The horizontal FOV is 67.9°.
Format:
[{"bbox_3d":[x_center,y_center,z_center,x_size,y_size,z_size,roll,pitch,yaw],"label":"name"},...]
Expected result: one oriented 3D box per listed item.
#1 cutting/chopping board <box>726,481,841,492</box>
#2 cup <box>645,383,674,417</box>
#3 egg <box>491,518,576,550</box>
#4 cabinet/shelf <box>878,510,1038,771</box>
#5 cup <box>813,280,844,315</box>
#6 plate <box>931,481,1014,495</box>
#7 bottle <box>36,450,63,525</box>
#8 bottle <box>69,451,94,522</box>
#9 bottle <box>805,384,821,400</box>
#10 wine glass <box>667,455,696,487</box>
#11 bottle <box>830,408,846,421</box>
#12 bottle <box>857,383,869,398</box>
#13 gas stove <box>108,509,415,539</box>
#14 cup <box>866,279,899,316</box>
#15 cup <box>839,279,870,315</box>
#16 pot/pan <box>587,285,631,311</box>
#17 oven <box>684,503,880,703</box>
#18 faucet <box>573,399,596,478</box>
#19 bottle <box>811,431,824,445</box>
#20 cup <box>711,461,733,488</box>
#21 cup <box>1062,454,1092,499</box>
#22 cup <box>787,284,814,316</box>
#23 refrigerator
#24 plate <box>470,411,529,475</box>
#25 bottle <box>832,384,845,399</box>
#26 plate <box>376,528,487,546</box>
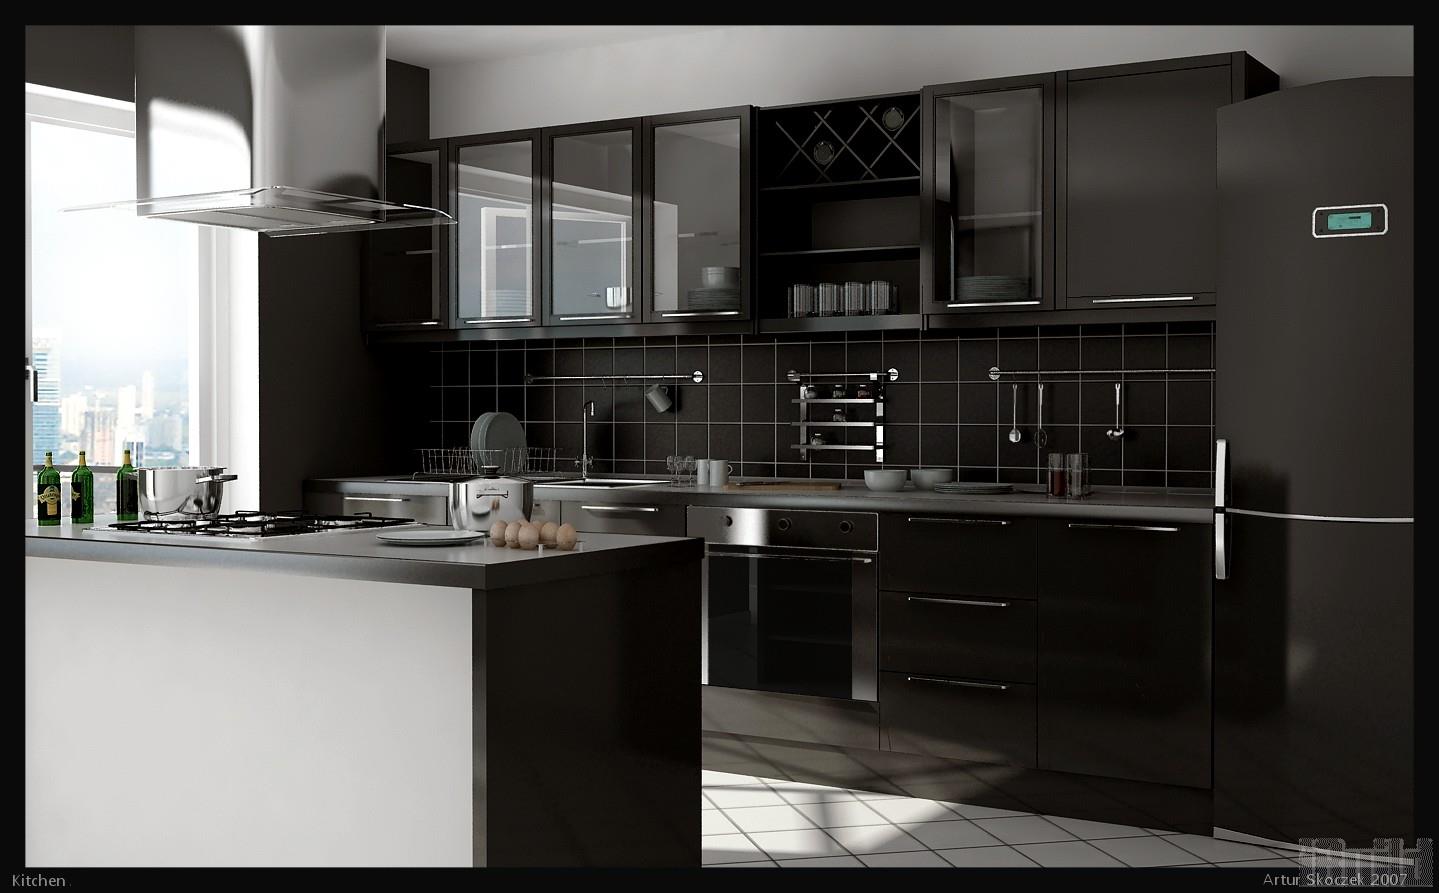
[{"bbox_3d":[0.301,0.185,4.967,0.493,0.021,0.463,-1,2,5],"label":"cutting/chopping board"},{"bbox_3d":[-0.334,-0.257,5.718,0.182,0.160,0.094,1,4,36],"label":"cup"},{"bbox_3d":[-0.558,0.255,3.169,0.209,0.055,0.107,-1,-3,18],"label":"egg"},{"bbox_3d":[1.143,0.781,4.758,0.751,1.032,0.804,1,5,22],"label":"cabinet/shelf"},{"bbox_3d":[0.520,-0.693,5.025,0.125,0.151,0.059,-1,3,-2],"label":"cup"},{"bbox_3d":[1.132,0.180,4.808,0.341,0.032,0.487,0,3,11],"label":"plate"},{"bbox_3d":[-2.389,0.144,3.813,0.061,0.254,0.138,-3,4,-34],"label":"bottle"},{"bbox_3d":[-2.287,0.145,3.843,0.065,0.255,0.115,-4,4,-35],"label":"bottle"},{"bbox_3d":[0.465,-0.277,5.333,0.069,0.057,0.048,0,0,9],"label":"bottle"},{"bbox_3d":[-0.192,0.126,5.470,0.086,0.134,0.158,1,0,37],"label":"wine glass"},{"bbox_3d":[0.594,-0.159,5.320,0.083,0.070,0.059,1,1,27],"label":"bottle"},{"bbox_3d":[0.701,-0.278,5.249,0.057,0.063,0.025,0,3,14],"label":"bottle"},{"bbox_3d":[-1.633,0.265,3.726,1.006,0.043,0.612,0,3,20],"label":"gas stove"},{"bbox_3d":[0.745,-0.690,4.956,0.144,0.164,0.162,3,4,27],"label":"cup"},{"bbox_3d":[0.627,-0.690,4.978,0.129,0.155,0.059,0,3,15],"label":"cup"},{"bbox_3d":[-0.555,-0.756,5.381,0.200,0.104,0.105,0,0,-1],"label":"pot/pan"},{"bbox_3d":[0.177,0.710,4.723,0.978,0.788,0.580,7,-16,-24],"label":"oven"},{"bbox_3d":[-0.721,-0.054,5.873,0.117,0.413,0.183,-2,3,-7],"label":"faucet"},{"bbox_3d":[0.492,-0.041,5.367,0.063,0.048,0.060,2,-1,0],"label":"bottle"},{"bbox_3d":[0.001,0.126,5.176,0.098,0.116,0.266,-1,3,-1],"label":"cup"},{"bbox_3d":[1.502,0.118,4.520,0.094,0.172,0.308,0,3,20],"label":"cup"},{"bbox_3d":[0.390,-0.692,5.067,0.124,0.151,0.056,-1,3,10],"label":"cup"},{"bbox_3d":[2.143,0.077,3.887,0.612,2.754,0.249,0,4,22],"label":"refrigerator"},{"bbox_3d":[-1.192,-0.014,5.696,0.229,0.340,0.399,0,3,18],"label":"plate"},{"bbox_3d":[0.583,-0.279,5.296,0.053,0.061,0.069,0,-4,4],"label":"bottle"},{"bbox_3d":[-0.920,0.282,3.336,0.368,0.031,0.238,0,3,19],"label":"plate"}]
